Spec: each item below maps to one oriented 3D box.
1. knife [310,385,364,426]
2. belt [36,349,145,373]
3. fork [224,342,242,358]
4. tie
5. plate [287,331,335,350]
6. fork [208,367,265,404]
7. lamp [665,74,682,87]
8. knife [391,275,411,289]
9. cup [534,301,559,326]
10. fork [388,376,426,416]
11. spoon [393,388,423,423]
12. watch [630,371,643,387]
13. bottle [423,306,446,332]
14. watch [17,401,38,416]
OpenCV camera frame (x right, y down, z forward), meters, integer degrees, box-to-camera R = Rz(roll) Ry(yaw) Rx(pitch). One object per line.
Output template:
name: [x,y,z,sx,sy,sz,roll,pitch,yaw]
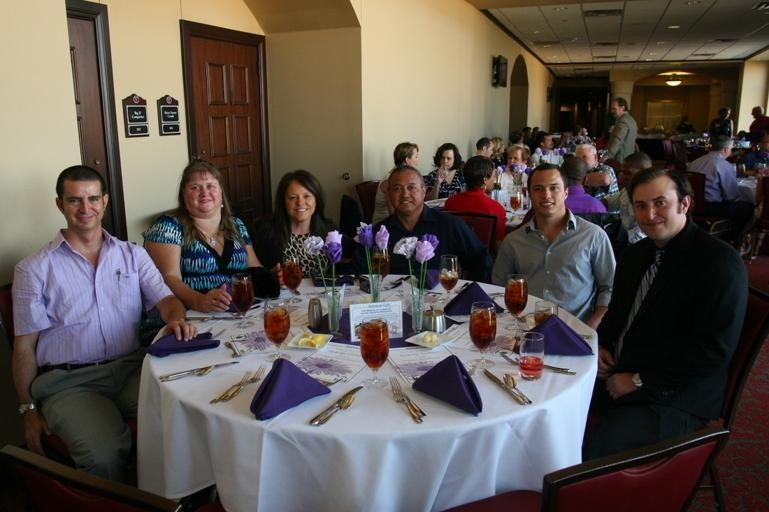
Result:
knife: [-0.169,0.500,1.671,0.051,0.029,0.283,11,19,20]
belt: [-1.438,0.511,2.386,0.273,0.048,0.148,-10,0,-29]
fork: [-0.630,0.384,2.039,0.057,0.016,0.057,30,11,-23]
tie: [1.269,0.121,2.453,0.106,0.131,0.937,29,50,0]
plate: [-0.316,0.355,2.083,0.086,0.030,0.097,2,12,12]
fork: [-0.530,0.446,1.800,0.056,0.032,0.220,-6,17,20]
lamp: [11.799,-7.194,20.292,0.635,0.232,0.634,-5,3,-25]
knife: [0.083,0.130,2.708,0.044,0.022,0.151,6,24,19]
cup: [0.707,0.243,2.193,0.104,0.103,0.106,0,4,0]
fork: [0.080,0.469,1.716,0.043,0.038,0.273,-9,25,-13]
spoon: [0.081,0.508,1.685,0.035,0.037,0.211,-12,19,-10]
watch: [1.119,0.544,2.195,0.044,0.042,0.043,-1,10,3]
bottle: [0.222,0.288,2.229,0.083,0.092,0.105,-1,2,-8]
watch: [-1.636,0.690,2.253,0.075,0.052,0.081,-37,-17,35]
